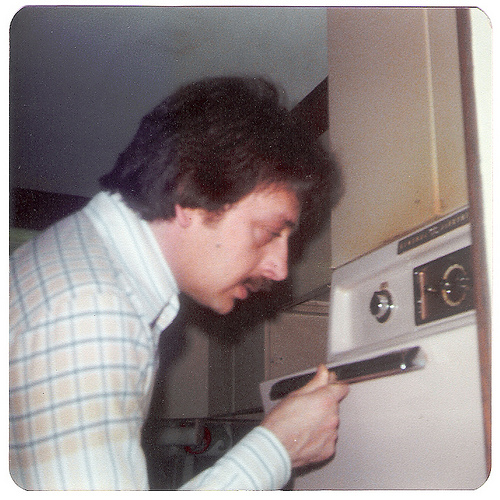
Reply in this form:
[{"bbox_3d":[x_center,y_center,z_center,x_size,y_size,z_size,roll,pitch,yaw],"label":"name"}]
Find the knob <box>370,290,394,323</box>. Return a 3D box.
[{"bbox_3d":[0.270,0.123,1.020,0.018,0.054,0.054,4,-4,-10],"label":"knob"}]
